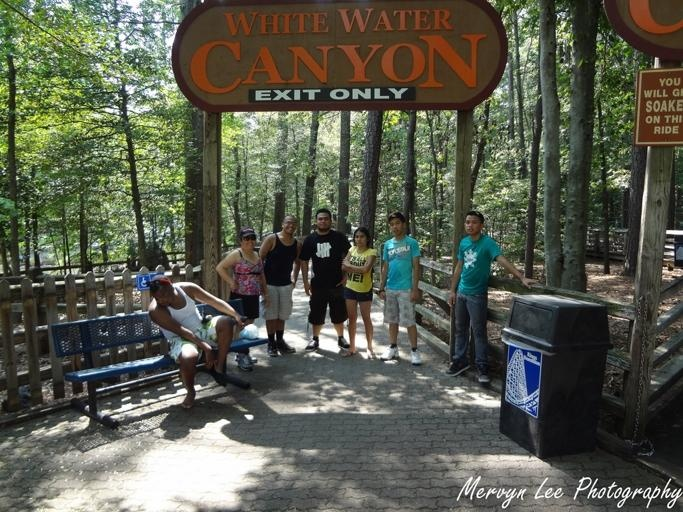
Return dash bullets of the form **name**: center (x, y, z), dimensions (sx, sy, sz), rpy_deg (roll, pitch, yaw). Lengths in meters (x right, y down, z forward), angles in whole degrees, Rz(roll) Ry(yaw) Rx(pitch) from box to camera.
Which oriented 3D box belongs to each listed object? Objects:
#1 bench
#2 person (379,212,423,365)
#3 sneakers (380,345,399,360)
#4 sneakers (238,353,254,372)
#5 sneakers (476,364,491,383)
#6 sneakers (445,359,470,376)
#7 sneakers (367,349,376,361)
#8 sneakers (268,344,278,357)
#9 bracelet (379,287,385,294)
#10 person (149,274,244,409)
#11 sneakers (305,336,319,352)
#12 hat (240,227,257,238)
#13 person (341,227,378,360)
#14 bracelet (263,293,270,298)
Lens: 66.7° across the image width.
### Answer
- **bench**: center (-2.864, 1.378, 7.242), dimensions (2.020, 1.283, 1.745), rpy_deg (-9, 12, -44)
- **person**: center (0.979, 0.575, 8.434), dimensions (0.688, 2.340, 0.836), rpy_deg (-1, 9, -1)
- **sneakers**: center (0.820, 1.628, 8.713), dimensions (0.153, 0.177, 0.418), rpy_deg (-4, -8, 36)
- **sneakers**: center (-1.477, 1.643, 8.094), dimensions (0.138, 0.165, 0.384), rpy_deg (1, 2, -37)
- **sneakers**: center (2.067, 1.683, 7.503), dimensions (0.195, 0.271, 0.259), rpy_deg (2, 9, 14)
- **sneakers**: center (1.759, 1.679, 7.868), dimensions (0.424, 0.195, 0.158), rpy_deg (-15, 1, -12)
- **sneakers**: center (0.503, 1.658, 8.742), dimensions (0.131, 0.096, 0.374), rpy_deg (-2, -7, 1)
- **sneakers**: center (-1.181, 1.604, 8.894), dimensions (0.147, 0.182, 0.436), rpy_deg (1, -7, -9)
- **bracelet**: center (0.664, 0.564, 8.516), dimensions (0.049, 0.105, 0.134), rpy_deg (-2, -10, 6)
- **person**: center (-1.881, 1.017, 7.058), dimensions (1.171, 1.772, 1.004), rpy_deg (-12, 20, -5)
- **sneakers**: center (-0.526, 1.569, 9.257), dimensions (0.128, 0.206, 0.354), rpy_deg (1, -19, 21)
- **hat**: center (-1.452, -0.364, 8.096), dimensions (0.222, 0.152, 0.251), rpy_deg (-3, 9, -15)
- **person**: center (0.297, 0.605, 8.844), dimensions (0.554, 2.228, 0.762), rpy_deg (0, 9, 1)
- **bracelet**: center (-1.231, 0.641, 8.523), dimensions (0.079, 0.076, 0.077), rpy_deg (-3, 10, -41)
